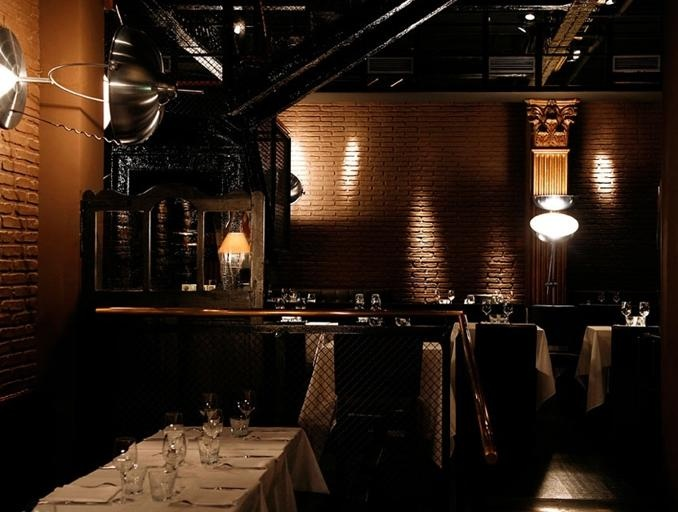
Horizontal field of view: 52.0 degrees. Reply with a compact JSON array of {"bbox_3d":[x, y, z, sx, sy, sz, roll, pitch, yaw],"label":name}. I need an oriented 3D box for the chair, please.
[{"bbox_3d":[2.750,1.506,6.476,0.655,1.277,1.303,0,-4,8],"label":"chair"}]

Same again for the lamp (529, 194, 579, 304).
[{"bbox_3d":[3.026,-0.088,9.857,0.604,1.298,0.774,2,1,10],"label":"lamp"}]

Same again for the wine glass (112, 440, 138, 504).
[{"bbox_3d":[-1.330,1.326,4.320,0.170,0.377,0.174,-5,-9,33],"label":"wine glass"}]
